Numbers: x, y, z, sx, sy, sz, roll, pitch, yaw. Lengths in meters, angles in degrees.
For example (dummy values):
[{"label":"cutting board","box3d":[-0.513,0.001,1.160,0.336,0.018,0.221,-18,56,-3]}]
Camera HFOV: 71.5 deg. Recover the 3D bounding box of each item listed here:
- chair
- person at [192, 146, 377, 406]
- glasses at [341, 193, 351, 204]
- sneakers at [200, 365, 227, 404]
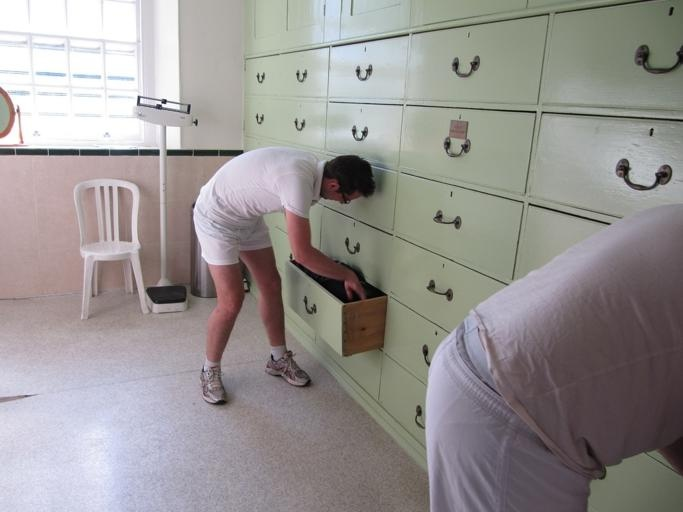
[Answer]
[{"label":"chair","box3d":[-1.803,-0.040,3.756,0.582,0.948,0.577,-15,-9,24]},{"label":"person","box3d":[-0.355,0.110,2.629,0.920,1.431,0.625,7,18,8]},{"label":"glasses","box3d":[0.017,-0.290,2.399,0.037,0.012,0.039,12,-31,-38]},{"label":"sneakers","box3d":[-0.705,0.720,2.630,0.092,0.117,0.244,-4,23,-22]}]
